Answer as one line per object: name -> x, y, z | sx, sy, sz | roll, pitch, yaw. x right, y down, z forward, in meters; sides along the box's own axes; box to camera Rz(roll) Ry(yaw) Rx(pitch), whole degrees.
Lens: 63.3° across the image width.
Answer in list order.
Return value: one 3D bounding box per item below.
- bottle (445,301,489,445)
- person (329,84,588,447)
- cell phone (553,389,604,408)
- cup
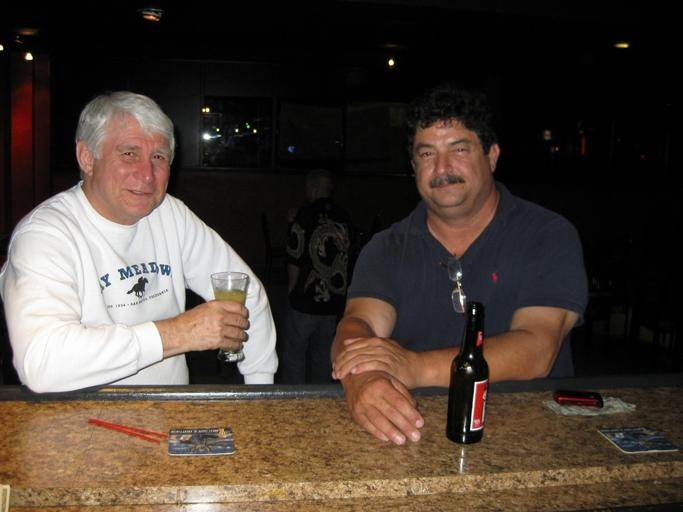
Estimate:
bottle -> 0.377, 0.328, 1.630 | 0.110, 0.403, 0.155 | 4, 5, 15
person -> 0.370, -0.072, 2.122 | 1.061, 1.175, 0.789 | -1, 5, -37
cell phone -> 0.765, 0.449, 1.775 | 0.120, 0.033, 0.063 | 8, 17, 3
cup -> -0.422, 0.241, 2.106 | 0.137, 0.366, 0.250 | 2, 4, -10
